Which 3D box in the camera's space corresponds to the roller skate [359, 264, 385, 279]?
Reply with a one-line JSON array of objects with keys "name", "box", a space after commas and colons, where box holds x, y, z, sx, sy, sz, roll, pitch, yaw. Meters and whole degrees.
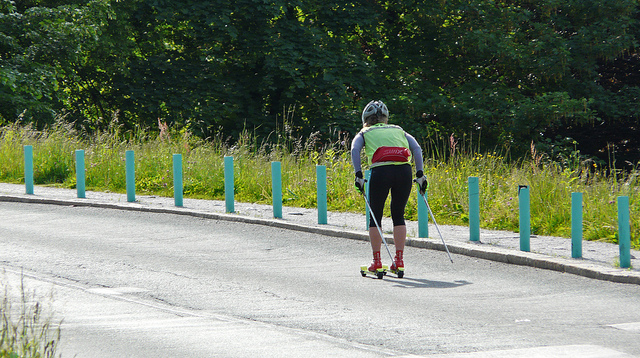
[{"name": "roller skate", "box": [1.477, 2.630, 33.897, 0.676, 0.329, 0.282, 2, -2, 2]}]
